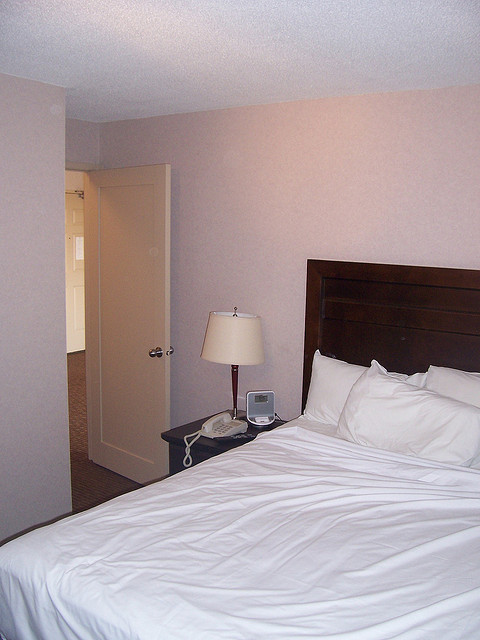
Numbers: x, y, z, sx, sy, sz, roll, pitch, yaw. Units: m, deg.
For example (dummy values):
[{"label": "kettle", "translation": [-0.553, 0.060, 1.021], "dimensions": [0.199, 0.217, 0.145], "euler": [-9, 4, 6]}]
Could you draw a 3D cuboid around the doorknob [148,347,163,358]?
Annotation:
[{"label": "doorknob", "translation": [-0.565, 0.218, 3.471], "dimensions": [0.079, 0.058, 0.033], "euler": [-11, 7, 20]}]

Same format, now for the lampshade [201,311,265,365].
[{"label": "lampshade", "translation": [-0.038, 0.105, 3.068], "dimensions": [0.411, 0.300, 0.403], "euler": [2, 6, -19]}]

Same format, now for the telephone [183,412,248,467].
[{"label": "telephone", "translation": [-0.146, 0.597, 2.806], "dimensions": [0.215, 0.101, 0.346], "euler": [4, 24, 31]}]
